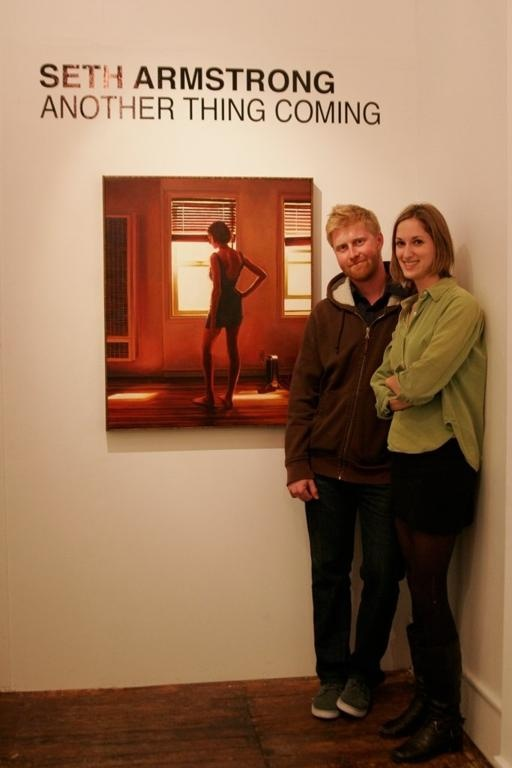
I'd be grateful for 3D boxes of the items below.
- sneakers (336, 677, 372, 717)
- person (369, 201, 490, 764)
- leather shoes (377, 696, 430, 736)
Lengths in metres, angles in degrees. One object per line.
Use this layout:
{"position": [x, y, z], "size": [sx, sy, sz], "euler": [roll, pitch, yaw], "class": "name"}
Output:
{"position": [0.329, 1.059, 2.194], "size": [0.114, 0.102, 0.127], "euler": [1, 9, 7], "class": "sneakers"}
{"position": [0.494, 0.405, 1.948], "size": [0.335, 1.430, 0.333], "euler": [2, 9, 20], "class": "person"}
{"position": [0.471, 1.052, 2.089], "size": [0.201, 0.135, 0.070], "euler": [0, -2, 0], "class": "leather shoes"}
